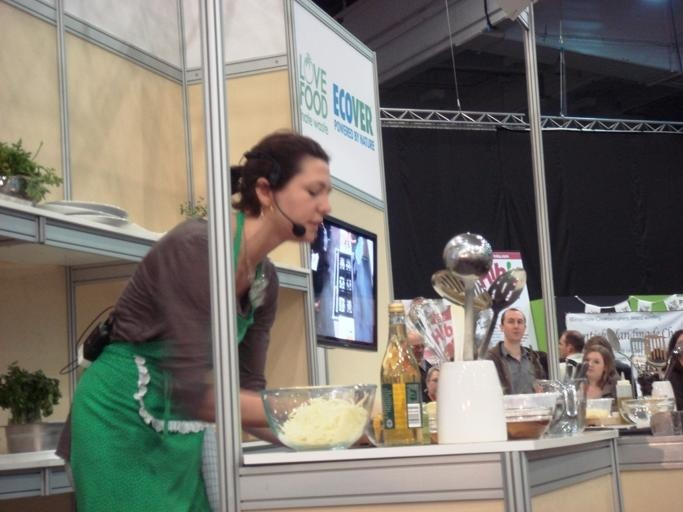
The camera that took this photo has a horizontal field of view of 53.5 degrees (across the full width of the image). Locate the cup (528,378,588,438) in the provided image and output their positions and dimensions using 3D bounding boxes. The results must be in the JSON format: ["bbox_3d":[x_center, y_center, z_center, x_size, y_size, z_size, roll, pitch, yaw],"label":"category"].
[{"bbox_3d":[0.496,0.344,1.503,0.112,0.121,0.093,-4,-23,16],"label":"cup"}]

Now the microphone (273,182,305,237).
[{"bbox_3d":[-0.132,-0.118,1.685,0.033,0.128,0.069,-38,-15,-33],"label":"microphone"}]

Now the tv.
[{"bbox_3d":[0.007,0.143,2.945,0.031,0.508,0.491,-7,-13,35],"label":"tv"}]

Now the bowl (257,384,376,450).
[{"bbox_3d":[-0.039,0.283,1.204,0.118,0.074,0.143,-10,-16,36],"label":"bowl"}]

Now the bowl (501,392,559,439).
[{"bbox_3d":[0.352,0.297,1.260,0.081,0.079,0.137,-8,-10,37],"label":"bowl"}]

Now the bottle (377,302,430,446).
[{"bbox_3d":[0.109,0.219,1.269,0.080,0.260,0.182,-2,-7,7],"label":"bottle"}]

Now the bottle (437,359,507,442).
[{"bbox_3d":[0.222,0.250,1.179,0.121,0.151,0.131,1,-13,-8],"label":"bottle"}]
